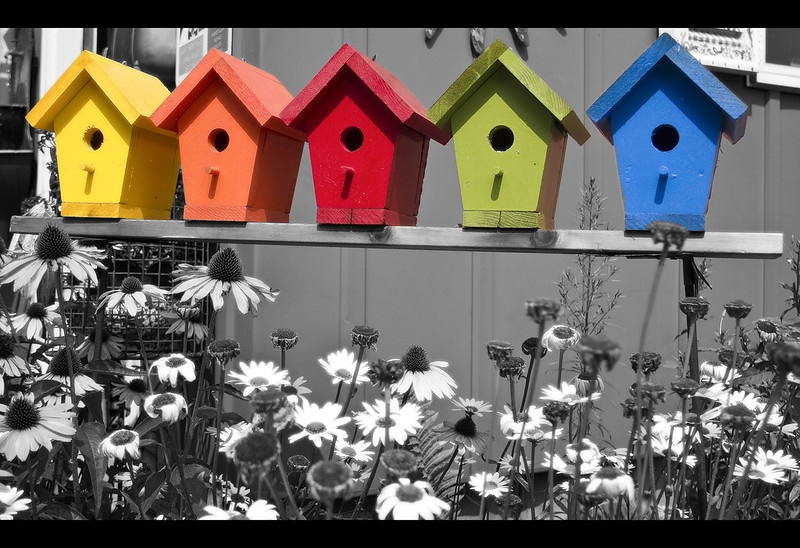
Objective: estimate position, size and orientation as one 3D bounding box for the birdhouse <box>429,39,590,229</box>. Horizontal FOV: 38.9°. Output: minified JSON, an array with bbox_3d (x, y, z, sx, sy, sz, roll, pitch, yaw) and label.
[{"bbox_3d":[0.430,-0.508,4.384,0.652,0.622,0.654,3,1,-41],"label":"birdhouse"}]

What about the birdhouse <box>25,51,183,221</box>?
[{"bbox_3d":[-1.102,-0.521,4.542,0.657,0.572,0.508,6,4,13],"label":"birdhouse"}]

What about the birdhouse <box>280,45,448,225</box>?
[{"bbox_3d":[-0.137,-0.513,4.287,0.644,0.673,0.265,4,-4,-6],"label":"birdhouse"}]
